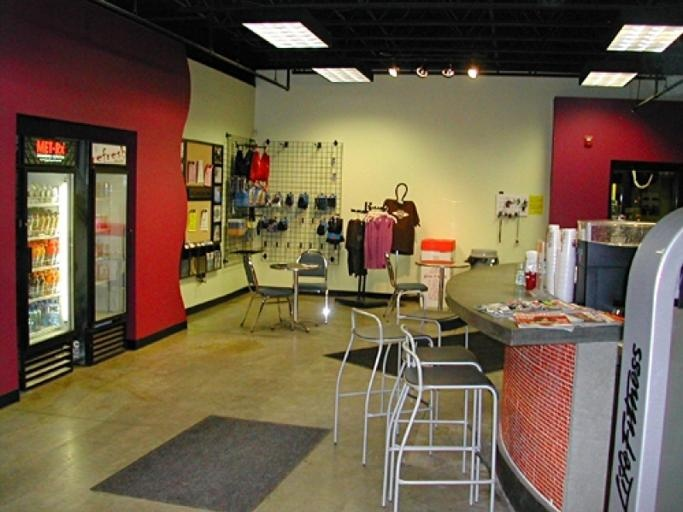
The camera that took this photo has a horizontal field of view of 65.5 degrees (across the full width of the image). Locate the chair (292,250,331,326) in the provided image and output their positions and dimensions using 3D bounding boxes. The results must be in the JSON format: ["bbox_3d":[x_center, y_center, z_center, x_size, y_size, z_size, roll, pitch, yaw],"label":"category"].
[{"bbox_3d":[-0.460,0.427,8.080,0.573,1.075,0.657,2,-1,13],"label":"chair"}]

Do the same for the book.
[{"bbox_3d":[1.254,0.346,3.219,0.765,0.052,0.567,-1,8,-3],"label":"book"}]

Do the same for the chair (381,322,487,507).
[{"bbox_3d":[0.705,1.278,4.109,0.398,0.864,1.216,0,2,0],"label":"chair"}]

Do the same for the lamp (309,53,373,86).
[{"bbox_3d":[0.028,-3.050,8.431,0.869,0.512,1.759,0,8,3],"label":"lamp"}]

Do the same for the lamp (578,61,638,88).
[{"bbox_3d":[3.789,-2.593,7.564,0.703,0.189,0.837,2,8,20],"label":"lamp"}]

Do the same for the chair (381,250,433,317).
[{"bbox_3d":[0.961,0.448,7.518,0.514,0.824,0.491,3,2,-6],"label":"chair"}]

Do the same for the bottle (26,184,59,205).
[{"bbox_3d":[-3.027,-0.625,5.337,0.268,0.100,0.197,12,16,42],"label":"bottle"}]

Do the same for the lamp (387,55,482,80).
[{"bbox_3d":[1.586,-3.166,8.855,1.820,0.360,0.359,0,-7,1],"label":"lamp"}]

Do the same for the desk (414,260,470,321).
[{"bbox_3d":[1.610,0.423,8.276,0.827,1.061,0.897,0,5,-5],"label":"desk"}]
